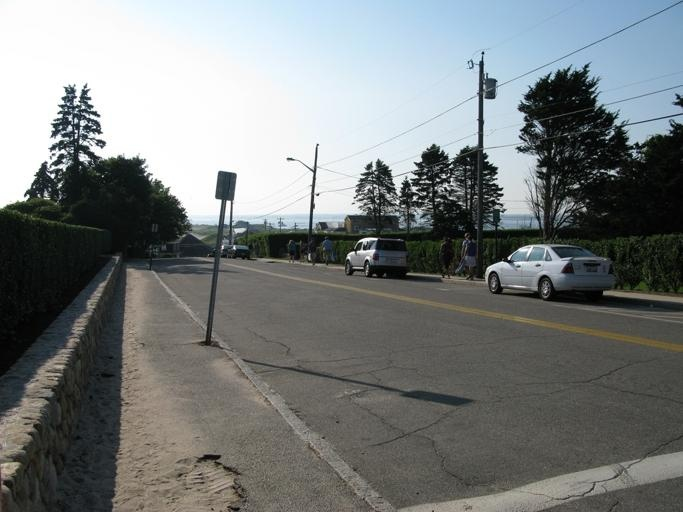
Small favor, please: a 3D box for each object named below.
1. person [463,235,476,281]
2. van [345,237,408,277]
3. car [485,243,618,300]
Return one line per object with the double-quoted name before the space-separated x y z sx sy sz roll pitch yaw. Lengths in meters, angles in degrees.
"person" 6.299 0.006 24.662 0.642 2.217 1.440 0 3 17
"van" 1.921 -0.016 28.269 1.771 1.646 3.620 0 5 -21
"car" 6.901 0.508 17.307 1.719 1.499 4.049 1 4 -18
